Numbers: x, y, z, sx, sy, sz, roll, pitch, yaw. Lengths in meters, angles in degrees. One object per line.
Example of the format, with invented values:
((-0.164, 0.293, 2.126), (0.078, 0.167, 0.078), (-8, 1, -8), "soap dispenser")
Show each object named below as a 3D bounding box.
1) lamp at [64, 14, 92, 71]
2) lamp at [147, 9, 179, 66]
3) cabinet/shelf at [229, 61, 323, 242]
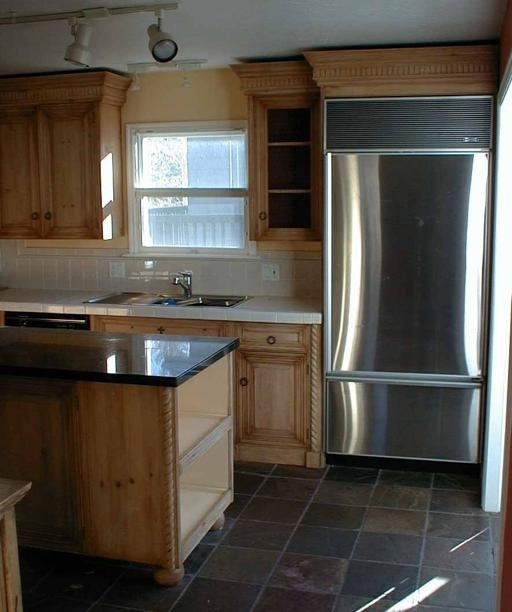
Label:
((-0.852, -1.281, 2.836), (0.124, 0.202, 0.096), (13, 6, -16), "lamp")
((-0.437, -1.217, 2.663), (0.160, 0.191, 0.089), (5, 7, 43), "lamp")
((0.135, -0.924, 3.571), (0.485, 1.032, 0.264), (1, 6, 15), "cabinet/shelf")
